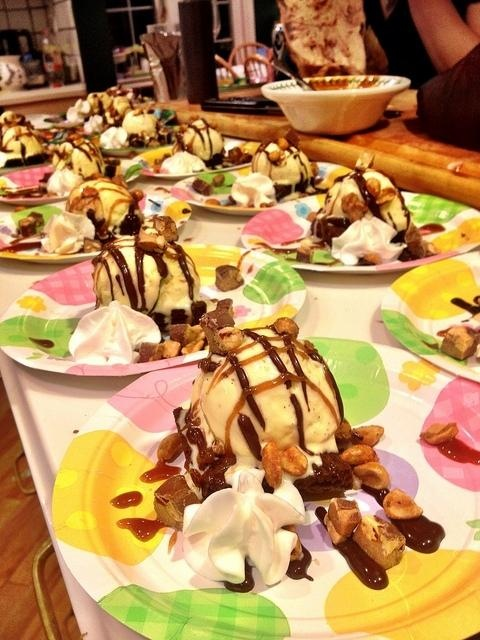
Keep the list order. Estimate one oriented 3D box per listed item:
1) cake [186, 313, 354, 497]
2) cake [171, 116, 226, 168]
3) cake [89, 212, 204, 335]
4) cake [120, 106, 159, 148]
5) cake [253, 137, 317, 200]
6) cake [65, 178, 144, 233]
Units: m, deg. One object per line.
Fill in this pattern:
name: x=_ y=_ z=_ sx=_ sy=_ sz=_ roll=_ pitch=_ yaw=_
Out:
cake: x=0.036 y=0.130 z=0.714 sx=0.216 sy=0.090 sz=0.269 roll=-4 pitch=49 yaw=-11
cake: x=-0.184 y=-0.739 z=2.219 sx=0.195 sy=0.124 sz=0.203 roll=15 pitch=48 yaw=-33
cake: x=-0.197 y=-0.111 z=1.134 sx=0.306 sy=0.257 sz=0.212 roll=-9 pitch=14 yaw=-24
cake: x=-0.501 y=-0.956 z=2.615 sx=0.204 sy=0.121 sz=0.216 roll=-5 pitch=55 yaw=-1
cake: x=0.165 y=-0.535 z=1.861 sx=0.237 sy=0.148 sz=0.240 roll=13 pitch=29 yaw=42
cake: x=-0.404 y=-0.357 z=1.542 sx=0.208 sy=0.111 sz=0.190 roll=10 pitch=20 yaw=-11
